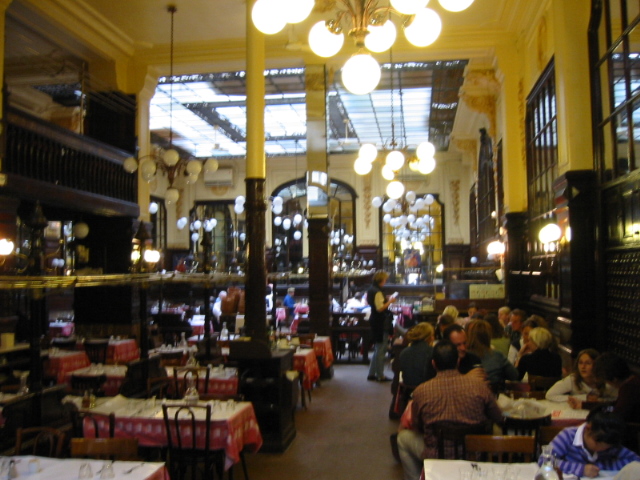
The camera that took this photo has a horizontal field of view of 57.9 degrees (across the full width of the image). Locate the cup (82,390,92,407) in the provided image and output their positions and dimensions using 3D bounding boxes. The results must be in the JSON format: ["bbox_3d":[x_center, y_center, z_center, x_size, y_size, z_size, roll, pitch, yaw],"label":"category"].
[{"bbox_3d":[-2.772,1.883,6.917,0.077,0.116,0.273,2,12,-12],"label":"cup"}]
